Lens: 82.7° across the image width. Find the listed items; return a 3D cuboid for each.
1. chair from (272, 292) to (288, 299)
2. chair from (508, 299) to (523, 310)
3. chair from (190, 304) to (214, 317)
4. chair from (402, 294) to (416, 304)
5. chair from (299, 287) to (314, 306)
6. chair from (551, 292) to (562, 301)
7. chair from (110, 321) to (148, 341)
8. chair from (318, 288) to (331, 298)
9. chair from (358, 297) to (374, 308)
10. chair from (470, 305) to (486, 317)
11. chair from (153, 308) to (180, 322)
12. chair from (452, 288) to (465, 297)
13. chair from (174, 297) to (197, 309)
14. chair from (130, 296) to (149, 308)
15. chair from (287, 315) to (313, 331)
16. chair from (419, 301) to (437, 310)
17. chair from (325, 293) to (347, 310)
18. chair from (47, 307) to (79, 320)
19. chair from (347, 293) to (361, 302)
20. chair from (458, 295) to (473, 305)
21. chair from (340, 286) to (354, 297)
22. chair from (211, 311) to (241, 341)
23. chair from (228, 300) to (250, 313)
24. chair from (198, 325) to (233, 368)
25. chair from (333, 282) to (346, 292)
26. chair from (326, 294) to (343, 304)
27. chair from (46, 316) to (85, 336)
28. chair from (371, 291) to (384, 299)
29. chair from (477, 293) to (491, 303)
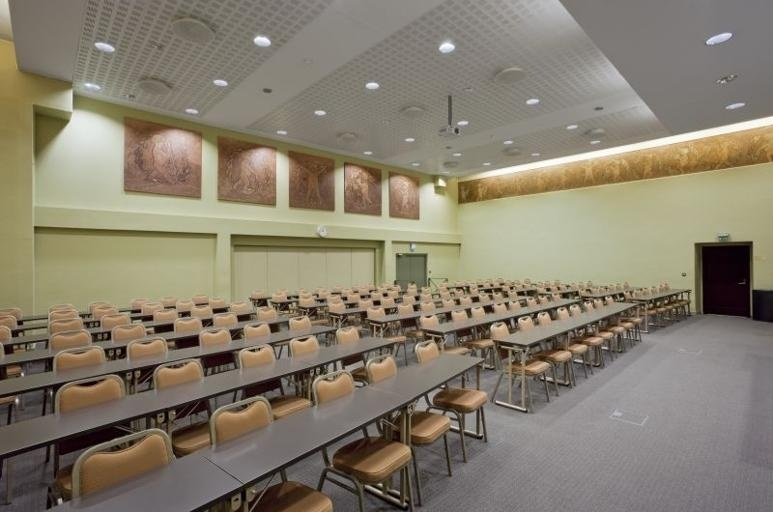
[{"bbox_3d":[-3.191,1.149,13.214,0.278,0.268,0.306,-20,-16,40],"label":"chair"},{"bbox_3d":[3.207,1.201,10.943,0.269,0.384,0.285,0,-3,-17],"label":"chair"},{"bbox_3d":[-4.367,1.308,10.388,0.349,0.418,0.364,2,-5,-31],"label":"chair"},{"bbox_3d":[0.657,1.251,12.787,0.193,0.251,0.209,0,-6,-11],"label":"chair"},{"bbox_3d":[-2.262,1.177,12.564,0.417,0.590,0.464,1,-4,-31],"label":"chair"},{"bbox_3d":[4.887,1.163,12.641,0.265,0.350,0.278,-1,-4,-15],"label":"chair"},{"bbox_3d":[-4.789,1.419,8.164,0.560,0.576,0.351,-1,3,-35],"label":"chair"},{"bbox_3d":[-1.933,1.137,13.596,0.304,0.270,0.284,3,-7,-36],"label":"chair"},{"bbox_3d":[-0.567,1.246,11.859,0.236,0.303,0.230,-1,-4,-43],"label":"chair"},{"bbox_3d":[2.186,1.312,10.518,0.239,0.409,0.242,0,-7,-21],"label":"chair"},{"bbox_3d":[-4.840,1.284,9.645,0.385,0.378,0.337,0,-3,-32],"label":"chair"},{"bbox_3d":[2.340,1.164,14.092,0.241,0.350,0.264,-1,-7,-5],"label":"chair"},{"bbox_3d":[-5.117,1.238,11.191,0.394,0.389,0.371,0,-1,-35],"label":"chair"},{"bbox_3d":[-6.607,1.228,11.731,0.141,0.270,0.284,-6,-4,35],"label":"chair"},{"bbox_3d":[-1.771,1.363,8.918,0.287,0.417,0.318,-1,-9,-37],"label":"chair"},{"bbox_3d":[1.019,1.231,10.958,0.210,0.272,0.226,-1,-9,-16],"label":"chair"},{"bbox_3d":[-1.389,1.231,11.762,0.371,0.516,0.395,1,-4,-39],"label":"chair"},{"bbox_3d":[-7.128,1.277,9.746,0.434,0.202,0.441,0,1,-10],"label":"chair"},{"bbox_3d":[-0.952,1.202,12.886,0.243,0.325,0.256,0,-3,-29],"label":"chair"},{"bbox_3d":[2.202,1.186,12.011,0.277,0.425,0.250,-1,-5,-24],"label":"chair"},{"bbox_3d":[-1.289,1.136,14.262,0.337,0.309,0.335,1,-9,-34],"label":"chair"},{"bbox_3d":[-3.315,1.440,9.184,0.546,0.650,0.530,0,-2,-30],"label":"chair"},{"bbox_3d":[-4.040,1.360,11.973,0.404,0.506,0.387,1,-6,-33],"label":"chair"},{"bbox_3d":[-3.105,1.637,8.116,0.660,0.983,0.630,1,-7,-28],"label":"chair"},{"bbox_3d":[-1.746,1.111,15.916,0.330,0.293,0.322,1,-2,-27],"label":"chair"},{"bbox_3d":[-1.496,1.219,12.505,0.259,0.229,0.242,2,-13,-36],"label":"chair"},{"bbox_3d":[-6.280,1.345,8.599,0.439,0.616,0.542,0,-7,-44],"label":"chair"},{"bbox_3d":[-0.291,1.183,13.283,0.194,0.197,0.202,-14,13,-37],"label":"chair"},{"bbox_3d":[2.848,1.221,12.781,0.254,0.362,0.282,-1,-7,-6],"label":"chair"}]
